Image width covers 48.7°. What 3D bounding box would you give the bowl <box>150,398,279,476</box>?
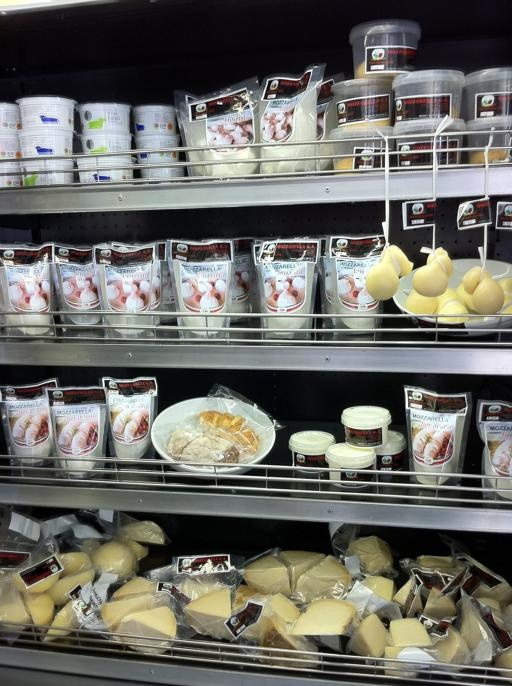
[{"bbox_3d":[-0.082,0.202,1.246,0.233,0.139,0.245,-1,12,0],"label":"bowl"}]
